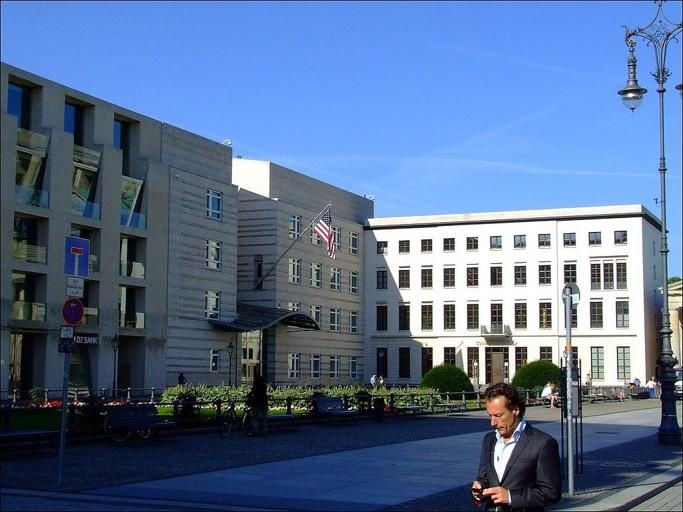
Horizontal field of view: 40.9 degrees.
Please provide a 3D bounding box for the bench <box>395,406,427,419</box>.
[{"bbox_3d":[3.459,7.496,44.182,1.116,0.544,2.977,-7,-15,17],"label":"bench"}]

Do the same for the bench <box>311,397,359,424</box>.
[{"bbox_3d":[-0.242,6.352,38.387,1.856,1.058,3.022,-2,-14,-2],"label":"bench"}]

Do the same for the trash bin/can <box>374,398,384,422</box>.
[{"bbox_3d":[1.691,6.748,40.745,0.394,1.130,0.480,-1,-14,-5],"label":"trash bin/can"}]
